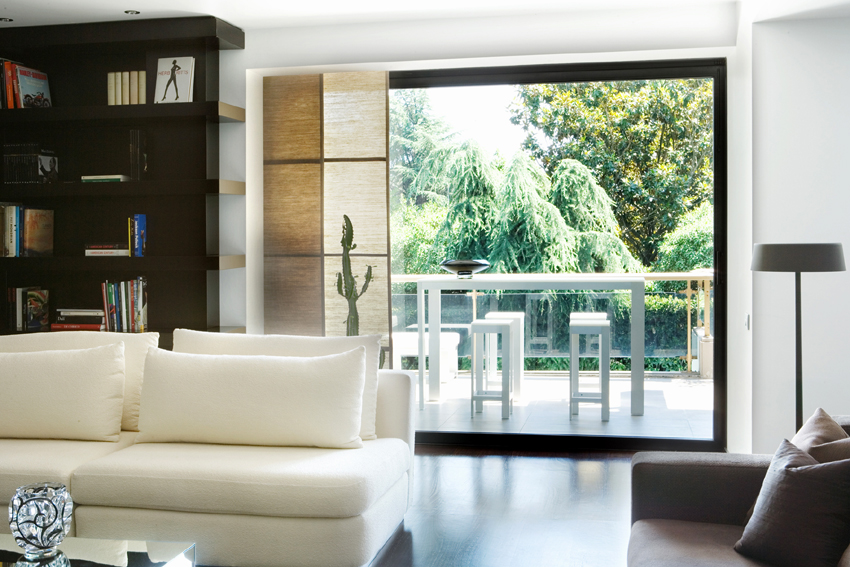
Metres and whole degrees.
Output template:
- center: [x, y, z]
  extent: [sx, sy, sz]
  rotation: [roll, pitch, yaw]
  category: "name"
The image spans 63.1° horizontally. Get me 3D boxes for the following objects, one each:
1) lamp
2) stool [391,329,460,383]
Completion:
- center: [2.273, 0.325, 4.281]
  extent: [0.477, 1.175, 0.548]
  rotation: [2, 11, 27]
  category: "lamp"
- center: [0.004, 0.568, 5.580]
  extent: [0.468, 0.373, 0.146]
  rotation: [1, 5, 9]
  category: "stool"
